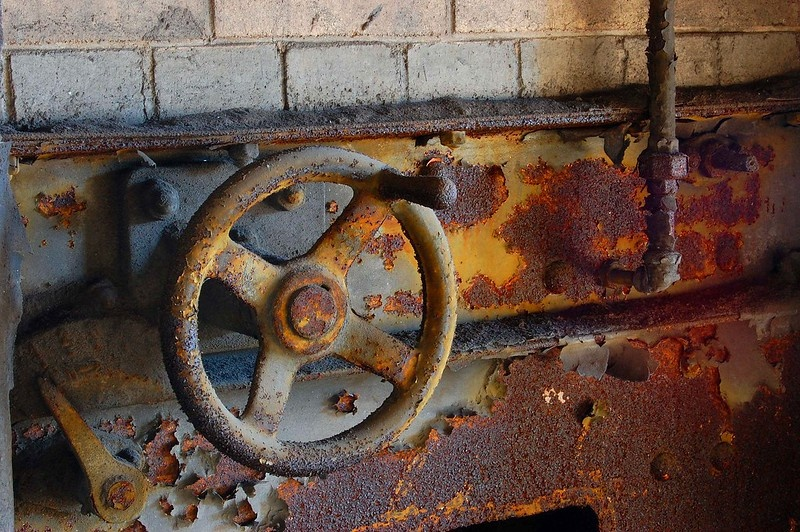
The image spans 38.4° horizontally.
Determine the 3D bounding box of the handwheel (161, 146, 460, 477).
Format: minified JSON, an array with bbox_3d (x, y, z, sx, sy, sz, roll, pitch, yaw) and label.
[{"bbox_3d":[-0.269,0.144,3.467,0.889,0.703,0.633,-1,-38,-6],"label":"handwheel"}]
